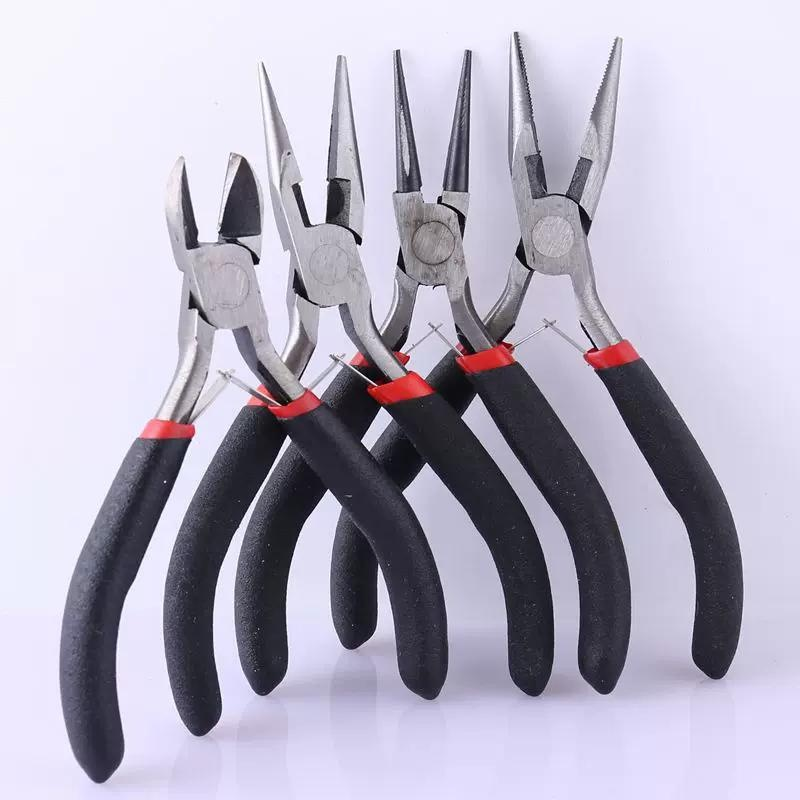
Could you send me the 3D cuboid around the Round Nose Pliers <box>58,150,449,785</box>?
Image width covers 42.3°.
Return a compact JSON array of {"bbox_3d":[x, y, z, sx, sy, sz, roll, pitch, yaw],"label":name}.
[{"bbox_3d":[-0.173,0.056,1.008,0.371,0.496,0.329,-14,37,-16],"label":"Round Nose Pliers"}]
